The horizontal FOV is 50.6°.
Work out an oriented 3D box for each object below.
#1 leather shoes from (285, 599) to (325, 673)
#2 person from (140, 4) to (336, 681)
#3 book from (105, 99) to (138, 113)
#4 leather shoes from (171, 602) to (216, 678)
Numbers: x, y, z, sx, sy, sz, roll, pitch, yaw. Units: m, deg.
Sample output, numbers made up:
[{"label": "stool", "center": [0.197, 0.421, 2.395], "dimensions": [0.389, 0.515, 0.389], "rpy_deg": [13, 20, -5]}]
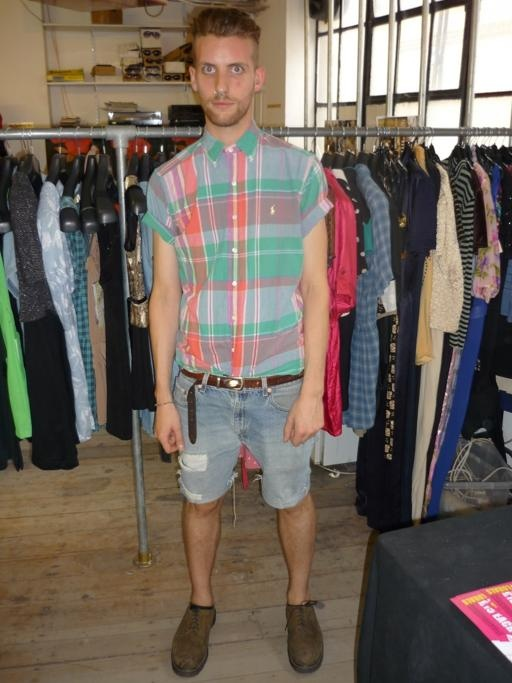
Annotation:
[{"label": "leather shoes", "center": [0.139, 0.807, 1.511], "dimensions": [0.076, 0.076, 0.188], "rpy_deg": [-3, 23, 2]}, {"label": "person", "center": [-0.052, 0.084, 1.371], "dimensions": [0.473, 1.656, 0.253], "rpy_deg": [1, 11, 8]}, {"label": "book", "center": [-1.318, -2.340, 5.312], "dimensions": [0.370, 0.139, 0.396], "rpy_deg": [-1, 27, -10]}, {"label": "leather shoes", "center": [-0.174, 0.829, 1.495], "dimensions": [0.068, 0.078, 0.196], "rpy_deg": [6, 28, 5]}]
